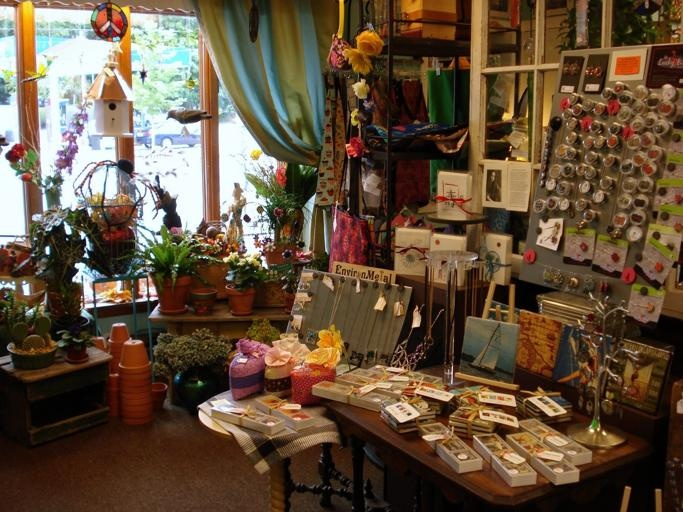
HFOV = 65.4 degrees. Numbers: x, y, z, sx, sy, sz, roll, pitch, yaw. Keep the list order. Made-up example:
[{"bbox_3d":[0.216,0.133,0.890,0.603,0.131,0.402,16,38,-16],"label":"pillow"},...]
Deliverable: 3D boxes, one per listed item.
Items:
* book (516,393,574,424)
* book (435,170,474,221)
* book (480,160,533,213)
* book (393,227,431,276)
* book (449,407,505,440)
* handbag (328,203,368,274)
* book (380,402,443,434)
[{"bbox_3d":[0.809,0.593,2.096,0.119,0.047,0.116,-2,7,-29],"label":"book"},{"bbox_3d":[0.592,-0.315,2.806,0.238,0.349,0.125,5,8,41],"label":"book"},{"bbox_3d":[0.863,-0.364,2.832,0.274,0.250,0.033,2,4,-4],"label":"book"},{"bbox_3d":[0.387,-0.023,2.898,0.209,0.292,0.155,7,9,35],"label":"book"},{"bbox_3d":[0.473,0.622,1.995,0.110,0.043,0.113,5,10,30],"label":"book"},{"bbox_3d":[0.010,-0.104,3.325,0.210,0.352,0.406,-8,14,-31],"label":"handbag"},{"bbox_3d":[0.262,0.609,2.051,0.119,0.041,0.120,-5,15,-29],"label":"book"}]
